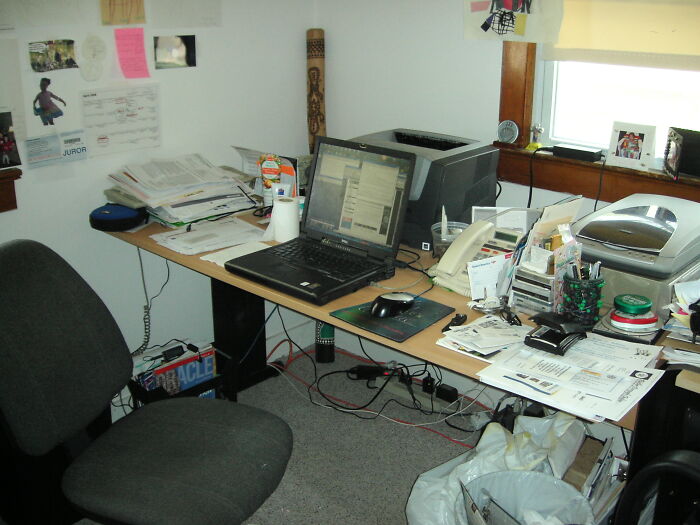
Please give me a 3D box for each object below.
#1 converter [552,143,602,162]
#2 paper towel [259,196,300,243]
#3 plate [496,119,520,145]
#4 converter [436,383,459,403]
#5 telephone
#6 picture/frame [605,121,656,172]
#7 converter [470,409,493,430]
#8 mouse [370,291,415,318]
[{"bbox_3d":[0.917,-0.441,2.215,0.181,0.052,0.118,12,21,32],"label":"converter"},{"bbox_3d":[-0.244,-0.162,2.094,0.137,0.172,0.127,14,21,36],"label":"paper towel"},{"bbox_3d":[0.664,-0.558,2.357,0.044,0.101,0.126,-15,24,-37],"label":"plate"},{"bbox_3d":[0.466,0.635,2.719,0.141,0.069,0.094,9,5,29],"label":"converter"},{"bbox_3d":[0.406,-0.026,1.759,0.257,0.114,0.257,26,60,38],"label":"telephone"},{"bbox_3d":[1.050,-0.435,2.055,0.161,0.168,0.026,14,23,34],"label":"picture/frame"},{"bbox_3d":[0.596,0.719,2.540,0.098,0.064,0.094,-13,18,-12],"label":"converter"},{"bbox_3d":[0.120,0.116,1.623,0.116,0.035,0.064,-17,28,-37],"label":"mouse"}]
